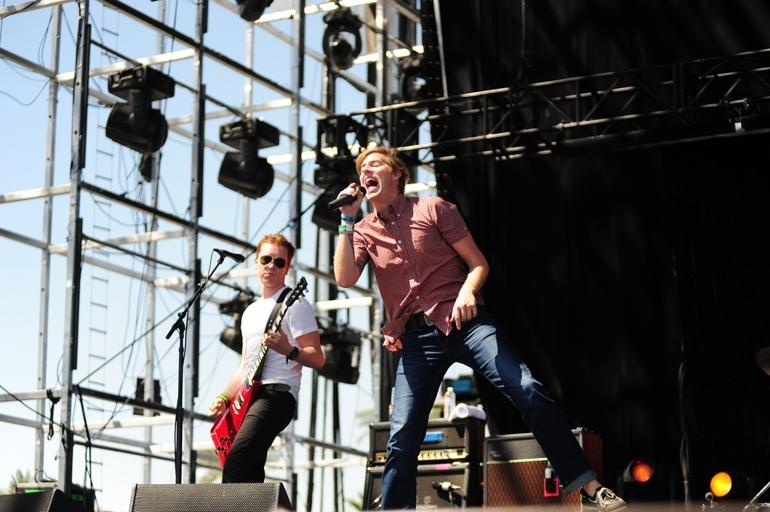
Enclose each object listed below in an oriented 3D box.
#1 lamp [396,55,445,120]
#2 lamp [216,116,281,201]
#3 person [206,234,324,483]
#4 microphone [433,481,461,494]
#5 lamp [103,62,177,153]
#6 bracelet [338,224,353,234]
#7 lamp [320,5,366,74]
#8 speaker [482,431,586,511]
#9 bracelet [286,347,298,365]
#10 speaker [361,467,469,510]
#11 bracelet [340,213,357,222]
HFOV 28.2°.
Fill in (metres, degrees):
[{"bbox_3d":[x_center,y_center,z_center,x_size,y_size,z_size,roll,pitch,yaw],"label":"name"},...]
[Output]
[{"bbox_3d":[0.466,-2.459,20.750,0.473,0.511,0.829,3,-44,19],"label":"lamp"},{"bbox_3d":[-1.716,-1.294,19.303,0.760,0.966,0.687,1,-26,-4],"label":"lamp"},{"bbox_3d":[-1.058,0.918,13.995,0.981,2.243,0.566,0,-26,-1],"label":"person"},{"bbox_3d":[0.604,2.243,14.910,0.319,0.115,0.102,7,-15,14],"label":"microphone"},{"bbox_3d":[-2.952,-1.723,18.484,1.070,0.955,1.069,3,-6,-34],"label":"lamp"},{"bbox_3d":[-0.351,-0.227,13.564,0.102,0.072,0.111,3,-7,2],"label":"bracelet"},{"bbox_3d":[-0.601,-2.943,20.575,0.608,0.841,0.496,-20,-32,34],"label":"lamp"},{"bbox_3d":[1.538,2.197,14.957,1.047,1.090,0.751,-6,-19,21],"label":"speaker"},{"bbox_3d":[-0.825,0.905,13.845,0.092,0.143,0.134,34,-11,-14],"label":"bracelet"},{"bbox_3d":[0.486,2.278,15.292,0.830,0.486,0.641,-1,-9,13],"label":"speaker"},{"bbox_3d":[-0.320,-0.332,13.575,0.076,0.039,0.086,14,-16,-6],"label":"bracelet"}]
